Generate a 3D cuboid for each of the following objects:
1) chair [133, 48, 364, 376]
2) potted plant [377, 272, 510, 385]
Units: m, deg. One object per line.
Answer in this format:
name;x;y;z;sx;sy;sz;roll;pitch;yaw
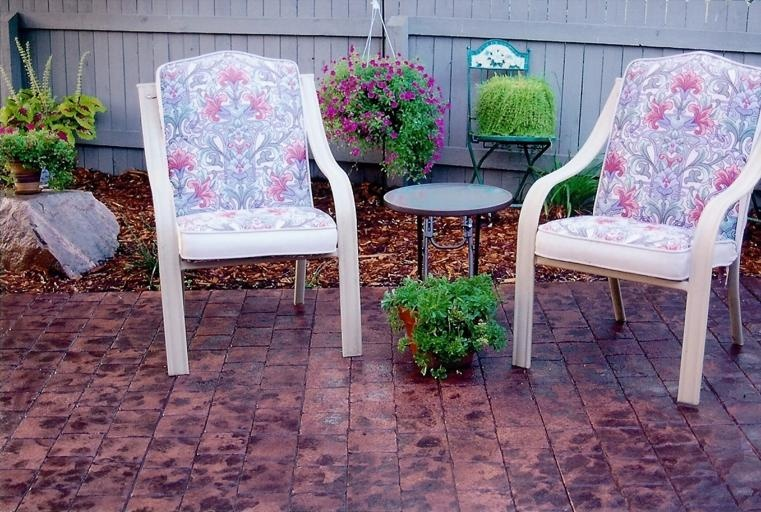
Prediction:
chair;-0.675;-0.280;3.288;1.034;1.465;0.988;-6;24;-12
potted plant;0.356;0.287;3.121;0.583;0.374;0.554;-8;12;-27
